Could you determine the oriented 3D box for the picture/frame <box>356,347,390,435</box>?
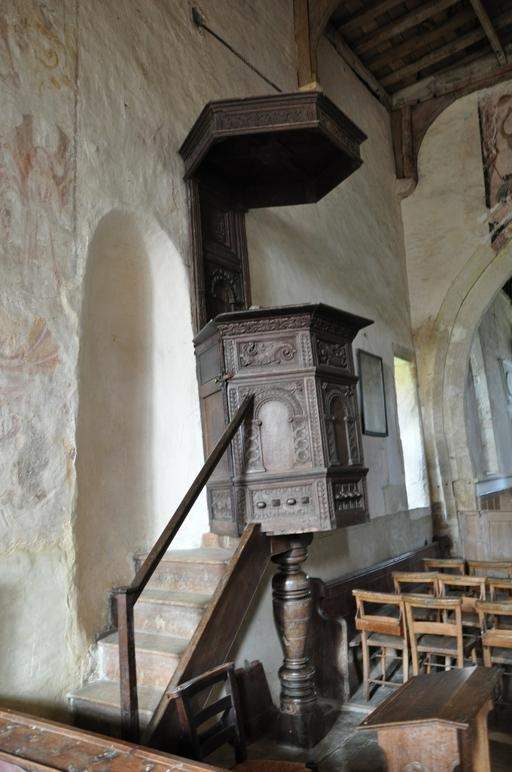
[{"bbox_3d":[1.267,0.070,6.758,0.076,1.035,0.867,-5,-11,26],"label":"picture/frame"}]
